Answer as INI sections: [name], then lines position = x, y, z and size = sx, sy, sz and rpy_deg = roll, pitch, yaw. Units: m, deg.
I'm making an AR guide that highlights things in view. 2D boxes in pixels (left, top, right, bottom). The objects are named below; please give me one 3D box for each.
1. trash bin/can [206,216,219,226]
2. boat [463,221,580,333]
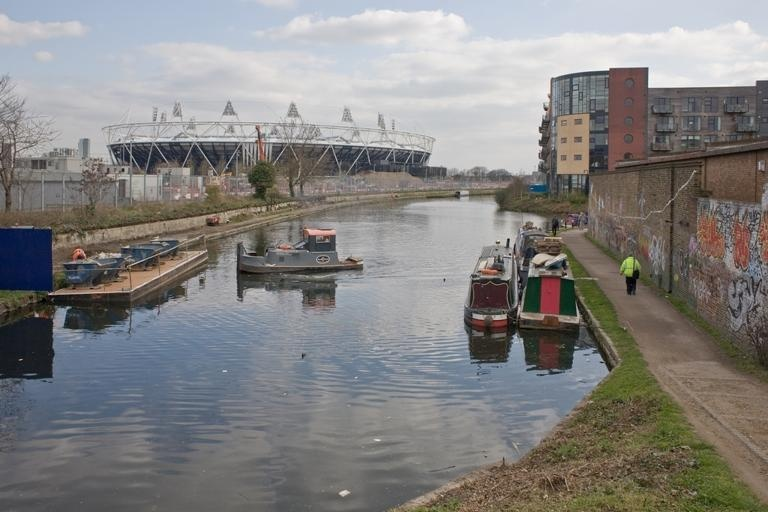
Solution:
[trash bin/can]
position = -17.217, -3.543, 69.221
size = 0.807, 0.617, 1.191
rpy_deg = 2, 6, 4
[boat]
position = 6.494, 0.967, 32.354
size = 3.642, 2.311, 6.671
rpy_deg = 0, 11, 9
